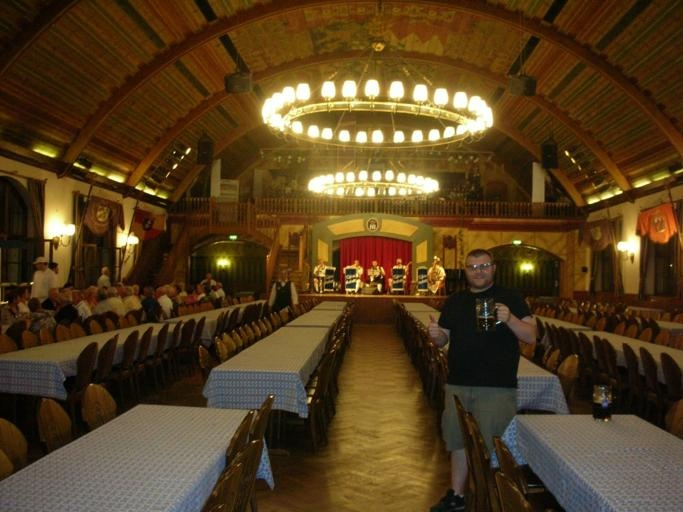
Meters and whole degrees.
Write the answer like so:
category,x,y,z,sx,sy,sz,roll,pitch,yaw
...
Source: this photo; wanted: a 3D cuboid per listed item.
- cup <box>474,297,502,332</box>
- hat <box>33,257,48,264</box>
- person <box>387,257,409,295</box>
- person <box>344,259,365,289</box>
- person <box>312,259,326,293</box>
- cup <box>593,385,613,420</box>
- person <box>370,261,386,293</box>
category,x,y,z,sx,sy,sz,roll,pitch,yaw
cup,1.068,0.414,3.598,0.118,0.234,0.223,-3,1,20
hat,-7.146,0.102,11.515,0.173,0.076,0.183,-8,-4,16
person,2.477,0.843,21.083,0.938,1.504,3.157,1,0,8
person,0.487,0.859,20.641,0.972,1.893,1.021,1,0,11
person,-0.901,0.828,19.769,0.419,1.258,1.196,1,0,-9
cup,1.960,1.101,3.631,0.192,0.250,0.203,8,-13,2
person,1.412,0.861,19.366,0.594,1.215,1.529,1,0,3
